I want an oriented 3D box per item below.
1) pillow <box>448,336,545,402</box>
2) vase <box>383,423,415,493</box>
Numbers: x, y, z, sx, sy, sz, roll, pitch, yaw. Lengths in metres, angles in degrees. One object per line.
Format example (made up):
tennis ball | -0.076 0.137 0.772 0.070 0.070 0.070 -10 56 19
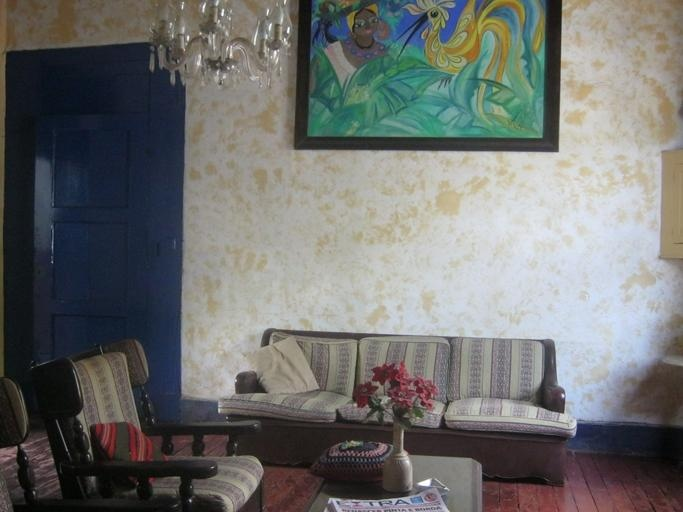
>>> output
pillow | 1.371 0.987 5.766 0.684 0.524 0.170 3 -9 14
vase | 0.341 1.173 3.968 0.190 0.410 0.222 0 4 5
